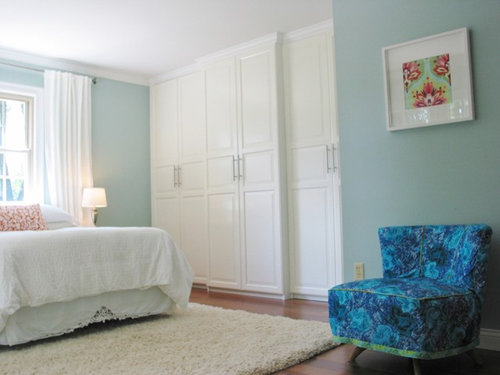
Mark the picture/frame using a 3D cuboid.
[{"bbox_3d":[1.360,-0.806,2.807,0.758,0.938,0.060,-5,-5,34],"label":"picture/frame"}]

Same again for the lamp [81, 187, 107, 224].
[{"bbox_3d":[-2.055,0.268,4.951,0.300,0.539,0.323,0,7,-16],"label":"lamp"}]
